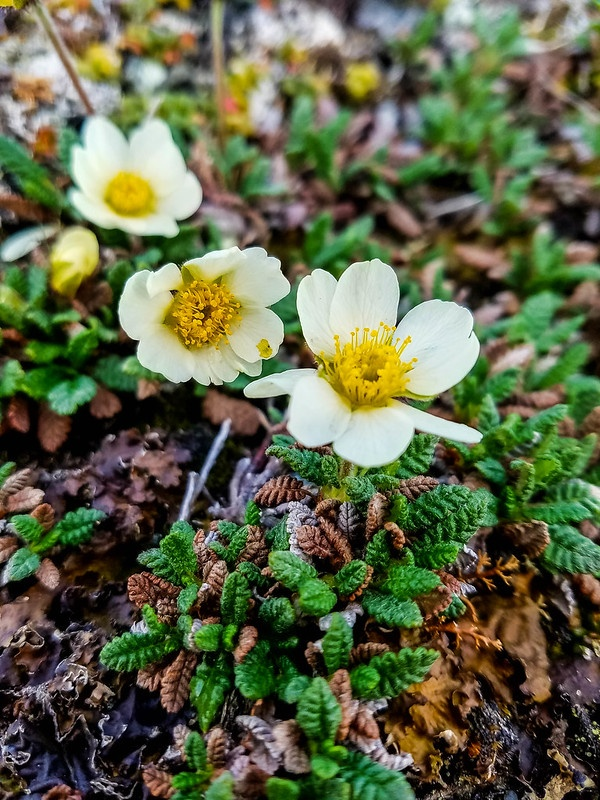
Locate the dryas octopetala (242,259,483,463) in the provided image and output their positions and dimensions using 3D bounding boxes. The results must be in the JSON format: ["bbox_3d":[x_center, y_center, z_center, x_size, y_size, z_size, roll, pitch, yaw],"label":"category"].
[{"bbox_3d":[0.169,-0.134,1.902,0.538,0.654,0.292,-19,79,34],"label":"dryas octopetala"}]
